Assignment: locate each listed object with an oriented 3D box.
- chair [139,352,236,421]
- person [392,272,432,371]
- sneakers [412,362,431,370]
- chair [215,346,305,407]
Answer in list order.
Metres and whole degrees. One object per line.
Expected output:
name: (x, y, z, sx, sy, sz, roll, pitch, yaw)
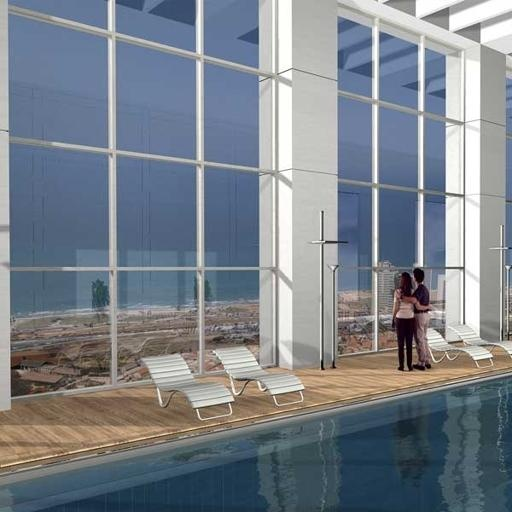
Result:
chair: (-0.968, 1.780, 6.597, 0.587, 0.511, 1.566, -4, 5, -35)
person: (2.925, 1.213, 9.293, 0.643, 1.932, 1.169, 0, -3, 24)
sneakers: (3.231, 2.131, 9.600, 0.131, 0.154, 0.392, 0, 1, -24)
chair: (0.010, 1.755, 7.276, 0.589, 0.536, 1.591, 0, -1, -34)
